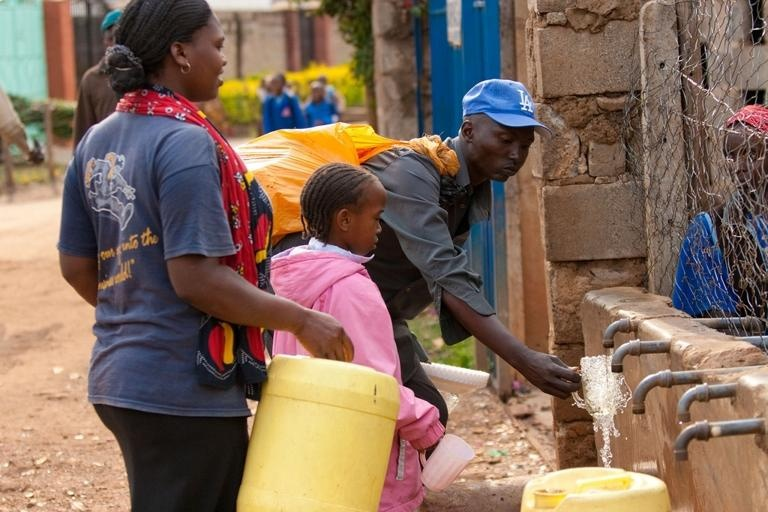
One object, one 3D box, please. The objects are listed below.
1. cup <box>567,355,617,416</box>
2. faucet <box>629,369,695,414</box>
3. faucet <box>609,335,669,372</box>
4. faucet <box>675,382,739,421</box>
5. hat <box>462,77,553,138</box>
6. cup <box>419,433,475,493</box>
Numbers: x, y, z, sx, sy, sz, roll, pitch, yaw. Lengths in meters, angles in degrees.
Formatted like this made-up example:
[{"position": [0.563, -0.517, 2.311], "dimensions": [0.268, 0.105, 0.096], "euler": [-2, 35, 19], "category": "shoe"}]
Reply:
[{"position": [1.115, 0.670, 6.473], "dimensions": [0.233, 0.301, 0.206], "euler": [-1, 7, 24], "category": "cup"}, {"position": [1.280, 0.619, 5.593], "dimensions": [0.319, 0.197, 0.083], "euler": [-6, -29, 25], "category": "faucet"}, {"position": [1.255, 0.485, 5.926], "dimensions": [0.328, 0.159, 0.071], "euler": [-4, -24, 35], "category": "faucet"}, {"position": [1.414, 0.642, 5.529], "dimensions": [0.278, 0.159, 0.133], "euler": [-6, 7, -17], "category": "faucet"}, {"position": [0.613, -0.807, 6.469], "dimensions": [0.402, 0.351, 0.269], "euler": [-3, 32, -11], "category": "hat"}, {"position": [0.309, 0.993, 6.149], "dimensions": [0.280, 0.261, 0.273], "euler": [1, 13, 0], "category": "cup"}]
